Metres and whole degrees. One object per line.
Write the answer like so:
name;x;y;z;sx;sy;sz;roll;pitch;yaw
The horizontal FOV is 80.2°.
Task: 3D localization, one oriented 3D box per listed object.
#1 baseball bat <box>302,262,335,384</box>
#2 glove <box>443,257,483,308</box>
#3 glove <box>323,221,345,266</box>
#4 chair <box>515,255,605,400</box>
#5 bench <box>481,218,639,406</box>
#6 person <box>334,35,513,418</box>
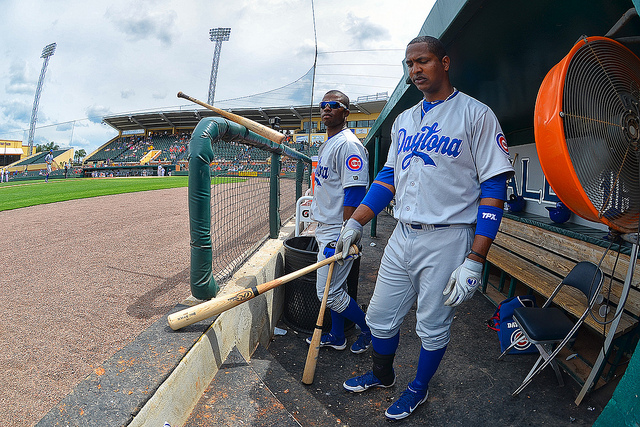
baseball bat;-0.010;0.953;3.248;0.134;1.246;0.126;9;19;-6
glove;1.011;0.484;2.712;0.106;0.383;0.208;24;9;-47
glove;0.108;0.323;3.497;0.087;0.273;0.196;9;-1;24
chair;2.096;0.924;3.413;0.578;1.152;1.047;9;16;37
bench;2.153;0.908;3.402;0.471;0.895;1.338;4;15;3
person;0.797;0.133;2.930;1.121;2.911;0.709;5;14;25
